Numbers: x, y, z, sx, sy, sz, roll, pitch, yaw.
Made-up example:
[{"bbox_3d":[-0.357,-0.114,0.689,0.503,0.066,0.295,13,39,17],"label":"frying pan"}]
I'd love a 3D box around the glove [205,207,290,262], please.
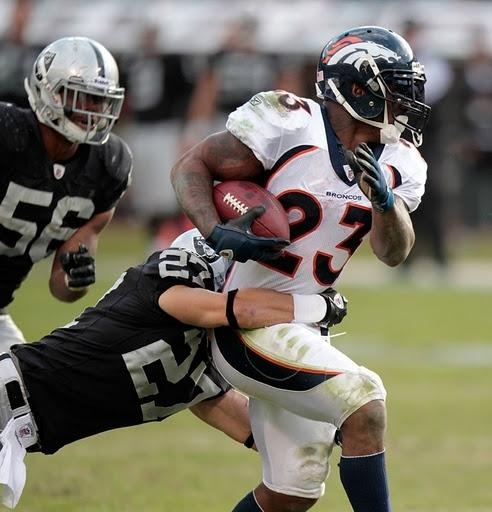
[{"bbox_3d":[0.017,-0.062,2.041,0.150,0.101,0.222,32,19,15],"label":"glove"}]

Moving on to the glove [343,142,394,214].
[{"bbox_3d":[0.376,-0.208,1.959,0.061,0.194,0.130,-36,43,-10],"label":"glove"}]

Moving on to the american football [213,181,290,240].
[{"bbox_3d":[0.022,-0.118,2.112,0.251,0.135,0.146,29,10,24],"label":"american football"}]

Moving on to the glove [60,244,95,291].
[{"bbox_3d":[-0.610,0.041,2.522,0.136,0.073,0.171,30,-6,-28],"label":"glove"}]

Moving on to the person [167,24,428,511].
[{"bbox_3d":[0.154,0.056,2.184,0.732,1.576,0.604,6,8,10],"label":"person"}]

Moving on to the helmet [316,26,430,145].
[{"bbox_3d":[0.315,-0.549,2.321,0.472,0.366,0.319,2,2,-1],"label":"helmet"}]

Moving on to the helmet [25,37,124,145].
[{"bbox_3d":[-0.615,-0.602,2.541,0.314,0.389,0.324,2,7,-16],"label":"helmet"}]
